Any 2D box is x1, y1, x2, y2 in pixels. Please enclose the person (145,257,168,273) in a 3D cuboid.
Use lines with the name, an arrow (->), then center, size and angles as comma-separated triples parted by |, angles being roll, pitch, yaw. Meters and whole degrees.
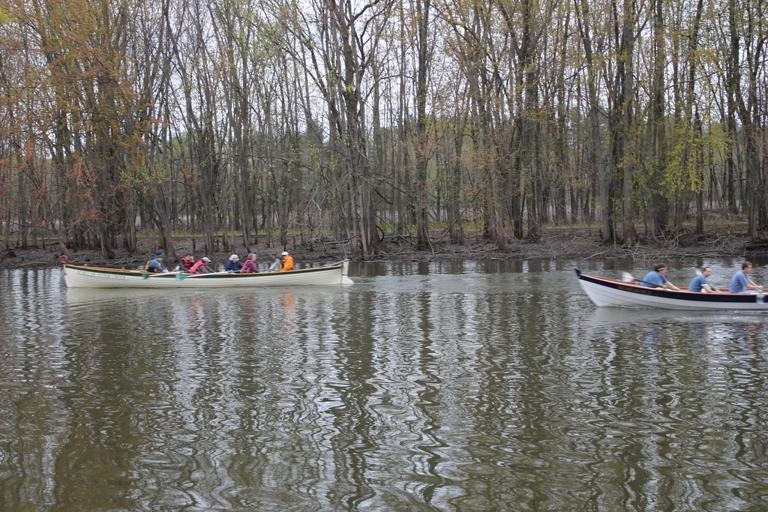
person -> -11.887, 0.483, 57.485 | 0.881, 0.916, 1.168 | 14, 15, 33

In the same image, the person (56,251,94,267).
person -> -18.566, 0.236, 65.836 | 1.845, 0.589, 0.977 | 13, -1, -23

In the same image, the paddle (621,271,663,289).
paddle -> 11.662, 1.095, 48.957 | 1.216, 0.349, 1.142 | 10, -3, 6

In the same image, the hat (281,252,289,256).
hat -> -5.152, -0.141, 57.019 | 0.504, 0.194, 0.656 | 0, -2, -3

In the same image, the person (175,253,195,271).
person -> -11.348, 0.393, 62.499 | 0.459, 0.513, 1.214 | -15, -23, -41

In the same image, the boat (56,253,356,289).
boat -> -9.563, 0.889, 59.208 | 14.274, 1.771, 2.223 | 0, -5, -3

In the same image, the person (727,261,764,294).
person -> 15.761, 0.917, 47.726 | 1.365, 1.321, 1.137 | -2, 10, 0

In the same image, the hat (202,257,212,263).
hat -> -9.301, 0.253, 57.456 | 0.358, 0.253, 0.531 | 13, 4, 28

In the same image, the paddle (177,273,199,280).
paddle -> -10.238, 1.072, 56.225 | 0.856, 0.436, 0.194 | 2, 11, 21
